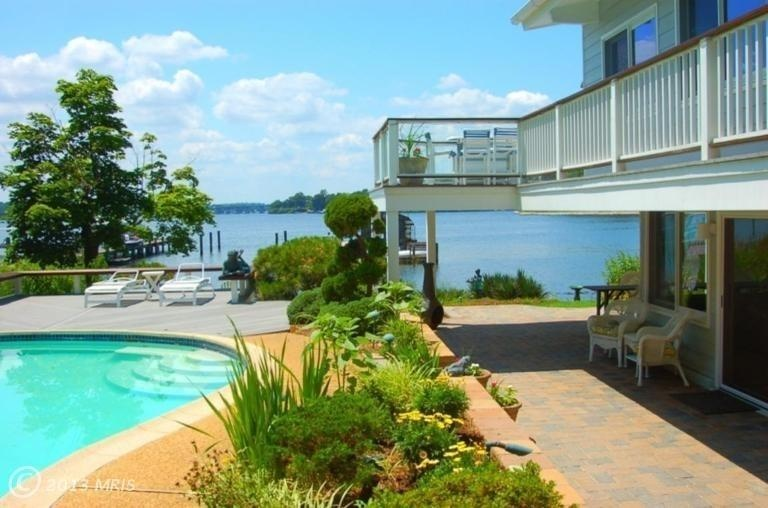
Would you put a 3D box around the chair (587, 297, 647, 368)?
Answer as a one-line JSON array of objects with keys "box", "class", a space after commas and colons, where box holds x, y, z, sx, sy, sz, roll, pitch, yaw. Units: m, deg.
[{"box": [4.626, 1.494, 11.932, 1.013, 1.242, 1.014, -1, 3, -13], "class": "chair"}]

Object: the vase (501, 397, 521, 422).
[{"box": [1.863, 2.279, 8.839, 0.325, 0.333, 0.311, -6, 2, -14], "class": "vase"}]

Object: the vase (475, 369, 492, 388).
[{"box": [1.536, 1.951, 9.438, 0.241, 0.168, 0.230, -2, 2, -16], "class": "vase"}]

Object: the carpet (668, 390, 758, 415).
[{"box": [5.399, 2.447, 9.981, 1.065, 0.079, 0.916, -2, 13, -6], "class": "carpet"}]

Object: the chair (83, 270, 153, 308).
[{"box": [-7.482, 1.062, 17.068, 1.034, 0.862, 2.034, -2, 2, 5], "class": "chair"}]

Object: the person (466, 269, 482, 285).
[{"box": [3.418, 0.880, 23.069, 0.459, 1.031, 0.455, 3, 9, 27], "class": "person"}]

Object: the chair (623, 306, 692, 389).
[{"box": [5.047, 1.679, 11.053, 1.059, 1.164, 1.015, -4, 6, 2], "class": "chair"}]

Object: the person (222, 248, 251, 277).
[{"box": [-4.272, 0.276, 17.225, 0.703, 0.635, 1.581, -4, 14, -13], "class": "person"}]

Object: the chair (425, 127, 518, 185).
[{"box": [1.942, -2.165, 13.219, 1.875, 1.237, 0.619, 0, 14, 6], "class": "chair"}]

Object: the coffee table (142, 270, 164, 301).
[{"box": [-6.773, 0.938, 17.625, 0.761, 0.844, 0.754, 1, 8, -7], "class": "coffee table"}]

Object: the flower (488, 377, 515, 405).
[{"box": [1.821, 2.121, 9.055, 0.442, 0.212, 0.458, -1, 7, -14], "class": "flower"}]
